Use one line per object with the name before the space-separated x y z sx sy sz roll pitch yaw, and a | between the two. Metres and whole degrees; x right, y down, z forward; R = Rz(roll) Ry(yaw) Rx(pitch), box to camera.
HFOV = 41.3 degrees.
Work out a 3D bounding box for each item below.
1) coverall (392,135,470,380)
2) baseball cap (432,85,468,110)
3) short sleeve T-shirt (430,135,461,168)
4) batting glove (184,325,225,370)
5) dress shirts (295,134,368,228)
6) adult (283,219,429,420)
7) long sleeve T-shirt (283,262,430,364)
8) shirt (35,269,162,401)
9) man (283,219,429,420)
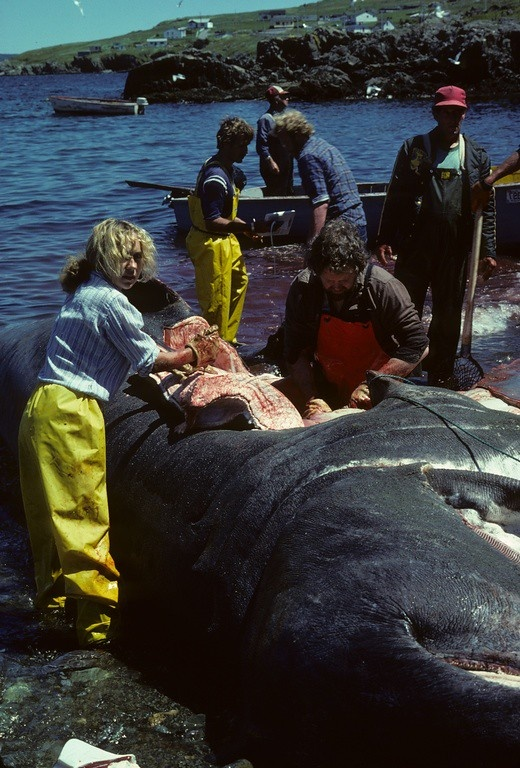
coverall | 1.429 -1.036 5.525 0.771 1.962 0.448 6 20 13
baseball cap | 1.437 -2.150 5.154 0.303 0.169 0.365 4 14 11
short sleeve T-shirt | 1.457 -1.733 5.218 0.334 0.224 0.147 -17 22 -40
batting glove | -0.270 -0.169 3.258 0.090 0.126 0.213 -2 16 21
dress shirts | 0.470 -1.840 6.061 0.536 0.682 0.320 -27 49 -33
adult | 0.529 -0.346 4.121 0.941 1.227 0.810 4 35 18
long sleeve T-shirt | 0.533 -0.414 4.205 0.936 0.659 0.453 0 30 10
shirt | -0.727 -0.231 3.201 0.490 0.549 0.668 3 15 -34
man | 0.525 -0.350 4.136 0.932 1.228 0.800 -2 34 10
